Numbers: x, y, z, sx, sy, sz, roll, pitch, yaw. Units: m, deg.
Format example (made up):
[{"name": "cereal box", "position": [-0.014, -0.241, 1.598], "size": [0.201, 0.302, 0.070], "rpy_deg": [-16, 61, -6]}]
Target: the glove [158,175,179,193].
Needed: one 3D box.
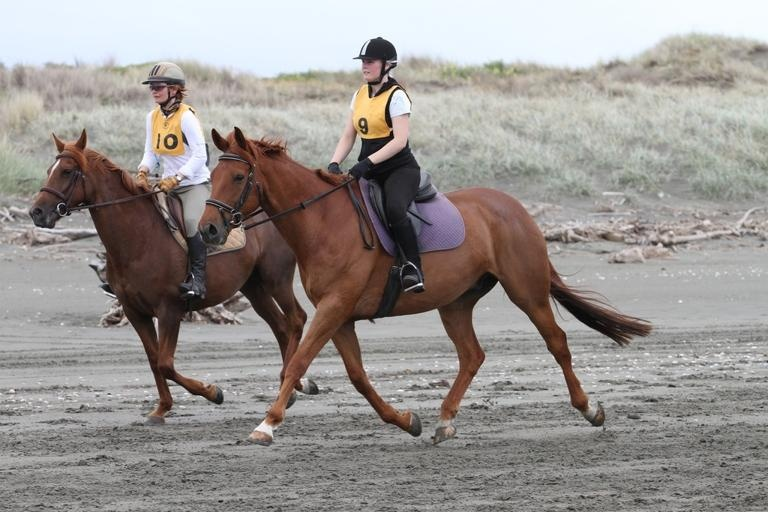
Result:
[{"name": "glove", "position": [-3.266, -1.049, 18.436], "size": [0.306, 0.120, 0.212], "rpy_deg": [-8, -4, -29]}]

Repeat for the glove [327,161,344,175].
[{"name": "glove", "position": [-0.685, -1.255, 17.629], "size": [0.209, 0.181, 0.140], "rpy_deg": [1, 3, 16]}]

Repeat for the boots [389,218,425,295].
[{"name": "boots", "position": [0.371, 0.046, 17.187], "size": [0.426, 1.007, 0.435], "rpy_deg": [-3, 16, -12]}]

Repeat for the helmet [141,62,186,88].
[{"name": "helmet", "position": [-3.327, -2.736, 18.451], "size": [0.570, 0.258, 0.378], "rpy_deg": [1, -2, -26]}]

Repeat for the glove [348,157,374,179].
[{"name": "glove", "position": [-0.331, -1.198, 17.324], "size": [0.346, 0.109, 0.264], "rpy_deg": [-32, -12, 33]}]
